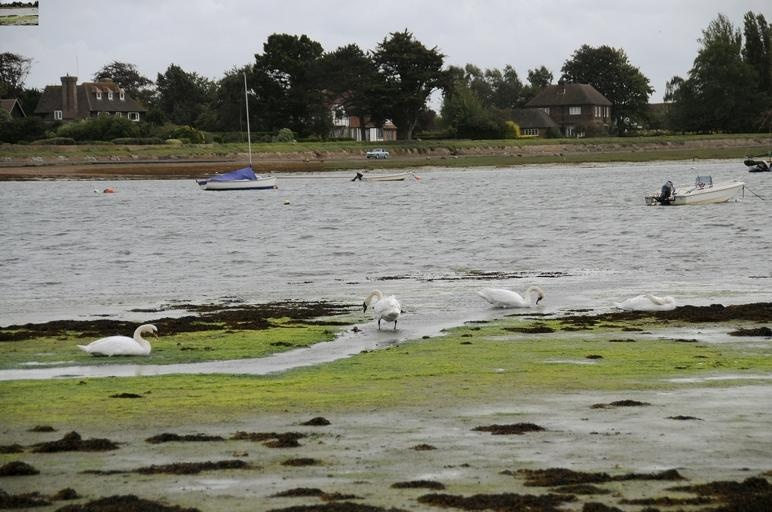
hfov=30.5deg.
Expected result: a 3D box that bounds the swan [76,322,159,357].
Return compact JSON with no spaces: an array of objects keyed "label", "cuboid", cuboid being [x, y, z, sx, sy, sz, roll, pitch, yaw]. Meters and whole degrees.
[{"label":"swan","cuboid":[-11.505,3.594,60.874,3.261,1.349,1.375,0,10,-7]}]

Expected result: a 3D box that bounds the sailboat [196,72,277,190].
[{"label":"sailboat","cuboid":[-14.855,-13.281,141.025,7.224,9.525,41.796,-2,9,-5]}]

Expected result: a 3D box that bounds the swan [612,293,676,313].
[{"label":"swan","cuboid":[12.222,2.152,65.077,2.712,0.674,1.044,0,10,6]}]

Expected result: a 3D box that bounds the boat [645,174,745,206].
[{"label":"boat","cuboid":[22.944,-4.669,102.676,7.810,1.723,1.754,-5,11,-26]}]

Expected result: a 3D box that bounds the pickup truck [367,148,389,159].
[{"label":"pickup truck","cuboid":[-0.573,-11.092,153.765,2.440,0.784,1.202,-1,4,-40]}]
